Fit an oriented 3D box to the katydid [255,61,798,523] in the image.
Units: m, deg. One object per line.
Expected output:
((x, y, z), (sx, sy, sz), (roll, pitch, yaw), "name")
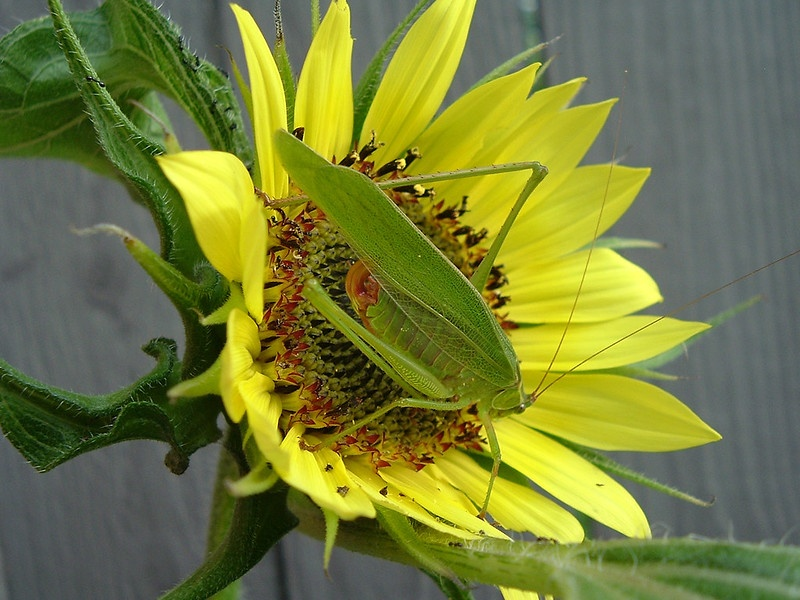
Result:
((-0.010, 0.032, 1.684), (0.627, 0.304, 0.322), (37, 72, 3), "katydid")

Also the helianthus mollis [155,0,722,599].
((-0.033, 0.022, 1.925), (0.996, 0.339, 1.065), (-44, 118, -37), "helianthus mollis")
